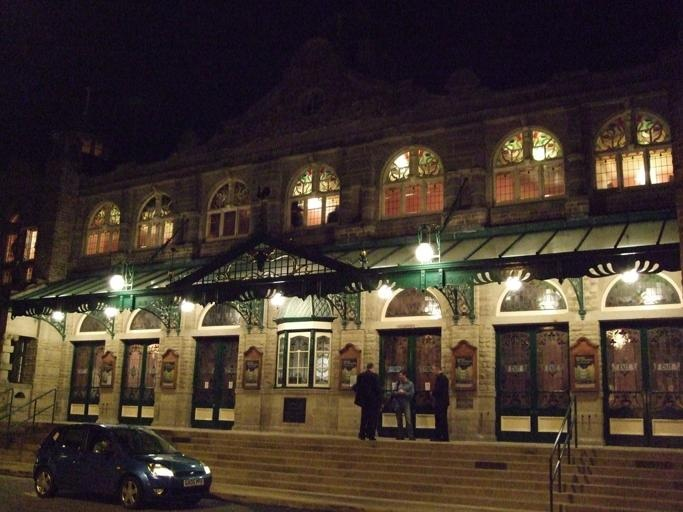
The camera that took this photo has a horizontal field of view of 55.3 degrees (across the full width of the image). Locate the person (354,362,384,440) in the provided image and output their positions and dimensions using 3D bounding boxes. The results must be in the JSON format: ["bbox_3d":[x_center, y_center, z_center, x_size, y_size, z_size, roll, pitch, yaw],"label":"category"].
[{"bbox_3d":[0.840,4.591,20.665,0.847,2.372,0.503,0,-13,1],"label":"person"}]

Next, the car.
[{"bbox_3d":[-5.711,5.390,16.939,4.645,1.968,1.349,-7,-15,25],"label":"car"}]

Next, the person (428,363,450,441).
[{"bbox_3d":[3.167,4.819,21.011,0.524,2.159,0.438,-2,-13,7],"label":"person"}]

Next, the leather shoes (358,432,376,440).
[{"bbox_3d":[0.784,5.681,20.423,0.199,0.292,0.627,10,-27,-34],"label":"leather shoes"}]

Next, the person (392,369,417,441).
[{"bbox_3d":[2.087,5.022,21.969,0.663,2.167,1.569,-1,-13,5],"label":"person"}]
